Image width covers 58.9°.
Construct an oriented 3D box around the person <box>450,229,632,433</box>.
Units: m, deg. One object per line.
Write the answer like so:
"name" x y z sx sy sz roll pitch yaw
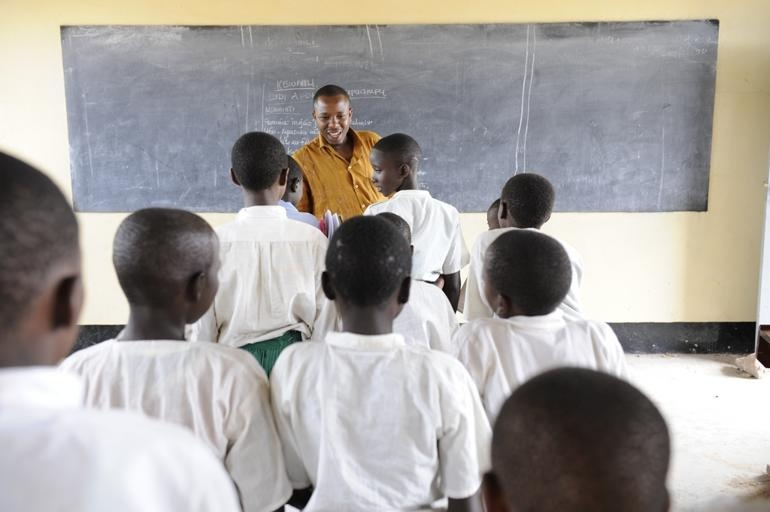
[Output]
"person" 0.585 0.257 2.650 0.792 0.752 0.433 -10 31 1
